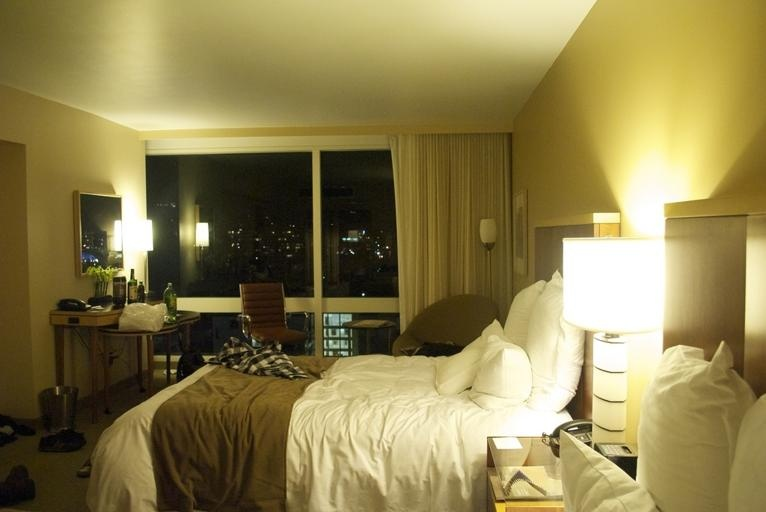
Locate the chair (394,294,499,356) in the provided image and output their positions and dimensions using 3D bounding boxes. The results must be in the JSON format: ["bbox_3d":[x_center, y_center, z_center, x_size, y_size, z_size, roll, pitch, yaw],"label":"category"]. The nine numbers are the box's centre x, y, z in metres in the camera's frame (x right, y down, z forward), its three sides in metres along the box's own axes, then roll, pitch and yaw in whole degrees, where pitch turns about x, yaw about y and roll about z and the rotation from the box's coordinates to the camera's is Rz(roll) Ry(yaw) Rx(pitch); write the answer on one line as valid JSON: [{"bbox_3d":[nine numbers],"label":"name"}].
[{"bbox_3d":[0.658,0.673,5.981,0.672,0.820,0.740,-15,-24,12],"label":"chair"}]

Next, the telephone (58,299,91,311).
[{"bbox_3d":[-2.837,0.452,5.421,0.148,0.067,0.159,-2,-1,-9],"label":"telephone"}]

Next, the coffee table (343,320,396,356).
[{"bbox_3d":[-0.098,0.860,6.388,0.458,0.471,0.447,1,-4,-16],"label":"coffee table"}]

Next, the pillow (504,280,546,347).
[{"bbox_3d":[1.034,0.415,4.375,0.131,0.438,0.402,9,10,-4],"label":"pillow"}]

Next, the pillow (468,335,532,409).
[{"bbox_3d":[0.816,0.753,4.131,0.359,0.421,0.600,0,-10,4],"label":"pillow"}]

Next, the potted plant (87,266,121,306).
[{"bbox_3d":[-2.754,0.303,5.825,0.386,0.402,0.194,0,2,-14],"label":"potted plant"}]

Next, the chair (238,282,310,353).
[{"bbox_3d":[-1.231,0.633,6.327,0.749,1.032,0.736,0,-6,-30],"label":"chair"}]

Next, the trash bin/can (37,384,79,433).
[{"bbox_3d":[-2.779,1.335,5.281,0.391,0.406,0.399,0,-2,37],"label":"trash bin/can"}]

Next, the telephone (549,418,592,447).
[{"bbox_3d":[1.141,1.034,3.499,0.282,0.112,0.222,-5,-5,24],"label":"telephone"}]
